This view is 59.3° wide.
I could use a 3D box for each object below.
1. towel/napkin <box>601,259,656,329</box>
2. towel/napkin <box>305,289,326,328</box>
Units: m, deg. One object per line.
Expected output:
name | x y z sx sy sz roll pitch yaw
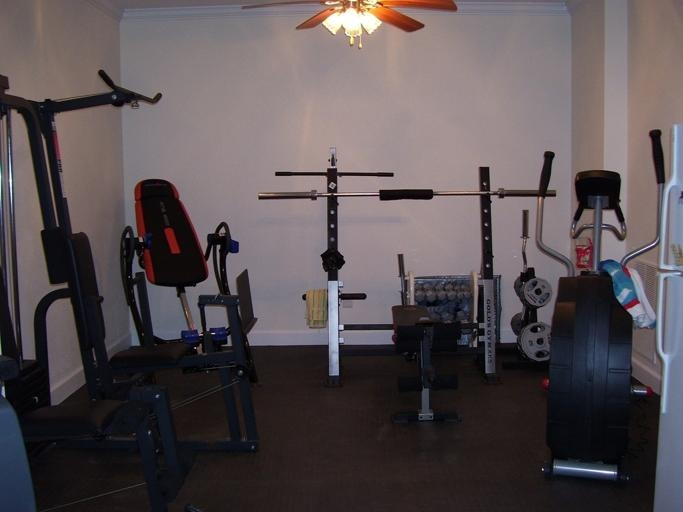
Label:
towel/napkin | 1.780 0.278 3.889 0.295 0.452 0.126 -8 -17 -45
towel/napkin | -0.240 0.500 5.684 0.201 0.398 0.191 -2 13 -5
